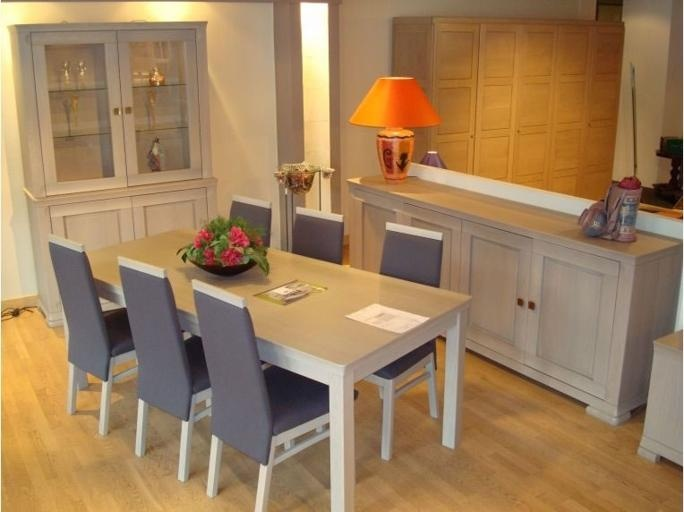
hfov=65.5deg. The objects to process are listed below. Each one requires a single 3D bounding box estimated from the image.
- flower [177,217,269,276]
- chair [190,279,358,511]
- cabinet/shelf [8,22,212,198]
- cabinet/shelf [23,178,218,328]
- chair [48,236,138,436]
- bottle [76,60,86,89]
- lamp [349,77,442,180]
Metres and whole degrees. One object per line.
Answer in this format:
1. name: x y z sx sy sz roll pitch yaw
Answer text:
1. flower: -0.620 -0.057 2.900 0.363 0.232 0.356 -3 10 -41
2. chair: -0.305 0.649 2.399 0.624 1.207 0.668 17 26 41
3. cabinet/shelf: -1.822 -1.235 4.317 1.433 1.311 0.428 -16 36 -37
4. cabinet/shelf: -1.904 -0.128 4.708 1.385 0.514 1.026 17 2 -22
5. chair: -1.280 0.437 3.139 0.538 1.066 0.607 12 16 35
6. bottle: -1.943 -1.357 3.988 0.082 0.193 0.035 -10 20 -23
7. lamp: 0.422 -0.989 4.233 0.720 0.781 0.715 -6 17 -26
